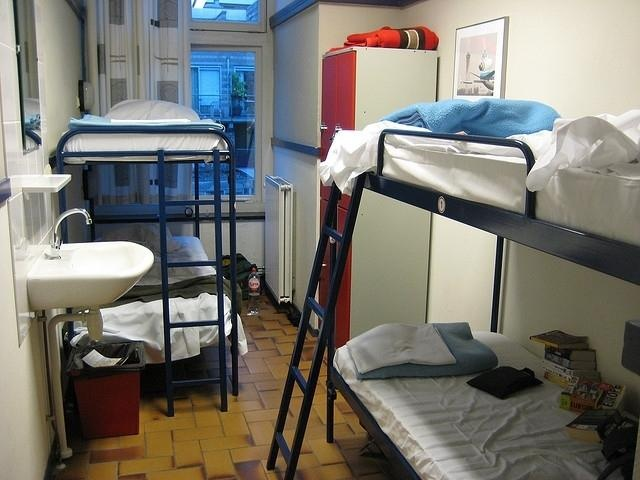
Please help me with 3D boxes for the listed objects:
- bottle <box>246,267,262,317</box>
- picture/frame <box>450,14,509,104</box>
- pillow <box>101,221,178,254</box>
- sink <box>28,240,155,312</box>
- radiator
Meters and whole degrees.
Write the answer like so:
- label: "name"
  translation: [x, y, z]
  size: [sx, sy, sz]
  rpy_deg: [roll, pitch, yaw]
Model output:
- label: "bottle"
  translation: [-0.668, 0.451, 4.876]
  size: [0.128, 0.420, 0.434]
  rpy_deg: [-3, 13, -8]
- label: "picture/frame"
  translation: [0.990, -1.109, 3.080]
  size: [0.074, 0.445, 0.477]
  rpy_deg: [-5, 14, -17]
- label: "pillow"
  translation: [-1.477, -0.057, 4.288]
  size: [0.436, 0.216, 0.618]
  rpy_deg: [2, 3, 10]
- label: "sink"
  translation: [-1.184, 0.190, 2.609]
  size: [0.575, 0.267, 0.633]
  rpy_deg: [-6, 14, -19]
- label: "radiator"
  translation: [-0.390, -0.016, 4.715]
  size: [0.123, 1.314, 1.102]
  rpy_deg: [-1, 8, -14]
